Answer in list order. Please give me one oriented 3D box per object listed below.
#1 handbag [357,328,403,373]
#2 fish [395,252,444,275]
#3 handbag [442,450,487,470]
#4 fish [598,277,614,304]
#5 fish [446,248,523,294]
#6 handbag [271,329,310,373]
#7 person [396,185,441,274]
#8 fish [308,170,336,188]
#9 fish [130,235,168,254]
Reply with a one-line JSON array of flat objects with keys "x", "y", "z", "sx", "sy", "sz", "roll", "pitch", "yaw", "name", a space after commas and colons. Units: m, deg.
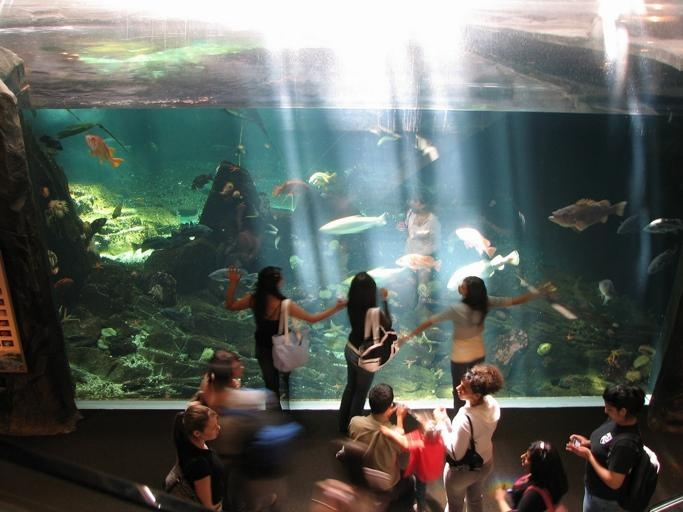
[{"x": 0.493, "y": 0.987, "z": 6.560, "sx": 0.397, "sy": 0.647, "sz": 0.586, "roll": 15, "pitch": 55, "yaw": -9, "name": "handbag"}, {"x": 1.090, "y": 0.097, "z": 8.058, "sx": 0.711, "sy": 0.269, "sz": 0.194, "roll": 7, "pitch": 41, "yaw": 6, "name": "fish"}, {"x": 1.202, "y": 1.957, "z": 5.443, "sx": 0.341, "sy": 0.061, "sz": 0.178, "roll": 0, "pitch": 6, "yaw": 0, "name": "handbag"}, {"x": 3.747, "y": 0.507, "z": 8.055, "sx": 0.204, "sy": 0.353, "sz": 0.076, "roll": 2, "pitch": 17, "yaw": 19, "name": "fish"}, {"x": 1.980, "y": 0.183, "z": 7.938, "sx": 1.112, "sy": 0.276, "sz": 0.278, "roll": -23, "pitch": 21, "yaw": -15, "name": "fish"}, {"x": -0.570, "y": 1.083, "z": 6.400, "sx": 0.368, "sy": 0.461, "sz": 0.553, "roll": 1, "pitch": 7, "yaw": 26, "name": "handbag"}, {"x": 1.084, "y": -0.321, "z": 8.083, "sx": 0.586, "sy": 1.147, "sz": 0.418, "roll": -3, "pitch": 16, "yaw": 2, "name": "person"}, {"x": -0.289, "y": -1.096, "z": 8.189, "sx": 0.569, "sy": 0.222, "sz": 0.141, "roll": -8, "pitch": 40, "yaw": 7, "name": "fish"}, {"x": -2.721, "y": -0.159, "z": 8.114, "sx": 0.497, "sy": 0.209, "sz": 0.057, "roll": -6, "pitch": 16, "yaw": -17, "name": "fish"}]
